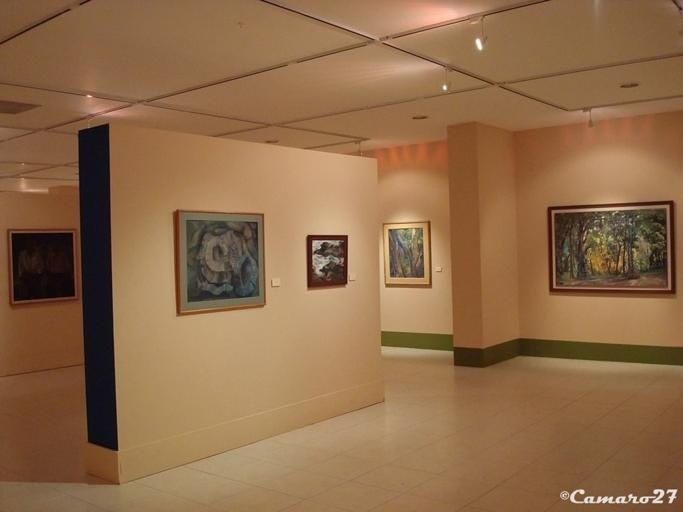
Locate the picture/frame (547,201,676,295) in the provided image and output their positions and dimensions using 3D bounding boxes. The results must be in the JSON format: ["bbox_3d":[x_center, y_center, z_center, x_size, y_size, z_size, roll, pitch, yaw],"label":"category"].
[{"bbox_3d":[6.236,-0.182,11.746,2.017,1.704,0.078,-1,-1,30],"label":"picture/frame"}]
